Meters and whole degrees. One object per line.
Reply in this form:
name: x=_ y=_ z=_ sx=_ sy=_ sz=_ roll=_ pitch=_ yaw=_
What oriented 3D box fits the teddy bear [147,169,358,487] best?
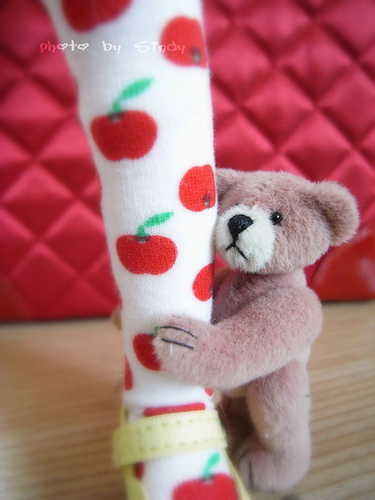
teddy bear: x=0.031 y=0.082 z=0.517 sx=0.242 sy=0.178 sz=0.303 roll=2 pitch=98 yaw=-19
